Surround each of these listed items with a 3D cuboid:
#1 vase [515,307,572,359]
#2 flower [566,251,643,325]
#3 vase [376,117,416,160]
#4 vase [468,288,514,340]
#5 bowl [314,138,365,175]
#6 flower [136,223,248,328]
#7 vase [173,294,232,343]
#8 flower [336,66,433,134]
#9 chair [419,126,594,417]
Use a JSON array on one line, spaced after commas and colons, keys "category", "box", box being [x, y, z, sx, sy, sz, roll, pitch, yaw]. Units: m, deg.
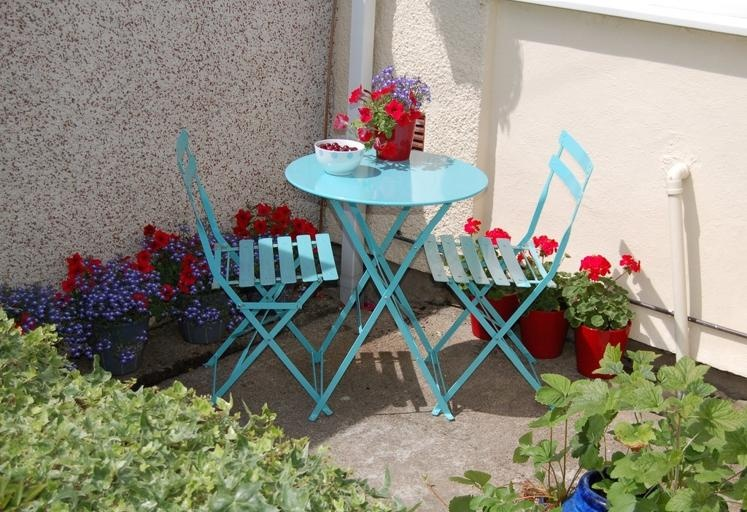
[{"category": "vase", "box": [1.093, 0.499, 3.855, 0.315, 0.287, 0.301, 4, 14, 20]}, {"category": "flower", "box": [1.355, 0.231, 3.709, 0.447, 0.473, 0.421, 9, 20, 36]}, {"category": "vase", "box": [0.149, -0.693, 3.596, 0.237, 0.192, 0.227, 5, 29, 12]}, {"category": "vase", "box": [0.769, 0.423, 3.943, 0.319, 0.314, 0.311, 0, 18, 4]}, {"category": "bowl", "box": [-0.204, -0.563, 3.362, 0.229, 0.130, 0.231, 1, 22, 0]}, {"category": "flower", "box": [-1.175, 0.050, 3.929, 0.619, 0.706, 0.480, -19, 14, 0]}, {"category": "vase", "box": [-1.111, 0.401, 3.850, 0.326, 0.256, 0.321, 10, 18, 27]}, {"category": "flower", "box": [0.048, -0.857, 3.480, 0.390, 0.308, 0.497, 9, 14, 10]}, {"category": "chair", "box": [0.852, 0.096, 3.673, 1.114, 1.791, 0.893, 1, 37, -3]}]
